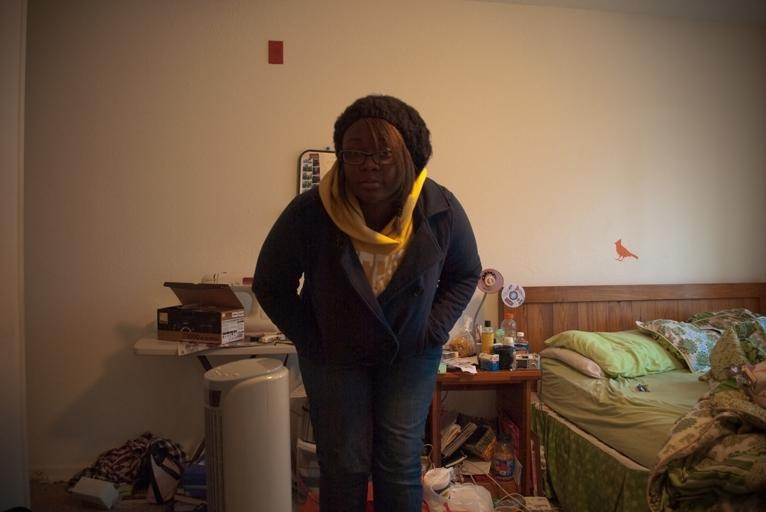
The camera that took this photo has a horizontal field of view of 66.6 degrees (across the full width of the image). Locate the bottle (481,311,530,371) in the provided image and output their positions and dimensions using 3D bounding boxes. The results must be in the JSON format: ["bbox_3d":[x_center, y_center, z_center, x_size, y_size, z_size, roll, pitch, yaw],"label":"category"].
[{"bbox_3d":[0.664,0.485,3.222,0.218,0.335,0.309,-1,-5,4],"label":"bottle"}]

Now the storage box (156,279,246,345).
[{"bbox_3d":[-0.914,0.311,3.011,0.476,0.409,0.278,-1,-4,8],"label":"storage box"}]

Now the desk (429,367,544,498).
[{"bbox_3d":[0.544,0.845,3.314,0.747,0.843,0.552,0,-3,-3],"label":"desk"}]
